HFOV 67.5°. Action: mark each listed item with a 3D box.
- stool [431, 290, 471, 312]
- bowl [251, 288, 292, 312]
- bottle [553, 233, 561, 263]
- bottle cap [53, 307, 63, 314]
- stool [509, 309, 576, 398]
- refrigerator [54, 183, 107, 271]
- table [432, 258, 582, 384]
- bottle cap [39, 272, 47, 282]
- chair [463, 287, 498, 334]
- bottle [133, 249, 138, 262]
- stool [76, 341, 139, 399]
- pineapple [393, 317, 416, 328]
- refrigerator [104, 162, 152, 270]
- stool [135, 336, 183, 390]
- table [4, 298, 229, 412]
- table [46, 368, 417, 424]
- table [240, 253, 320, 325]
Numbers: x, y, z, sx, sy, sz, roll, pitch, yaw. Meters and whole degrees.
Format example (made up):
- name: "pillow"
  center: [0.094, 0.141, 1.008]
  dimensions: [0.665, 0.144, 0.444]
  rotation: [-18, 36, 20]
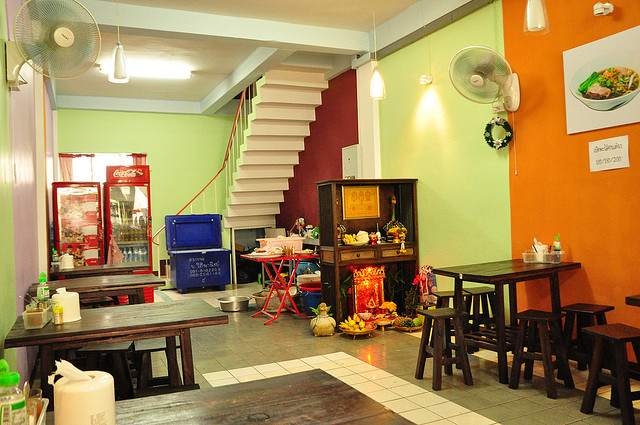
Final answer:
- name: "stool"
  center: [1.659, 1.070, 6.063]
  dimensions: [0.353, 0.334, 0.342]
  rotation: [0, -2, -6]
- name: "bowl"
  center: [-0.805, 1.503, 8.283]
  dimensions: [0.513, 0.194, 0.510]
  rotation: [-1, 6, 0]
- name: "bottle"
  center: [2.751, 0.412, 5.562]
  dimensions: [0.080, 0.301, 0.343]
  rotation: [0, 5, 26]
- name: "bottle cap"
  center: [-2.131, 0.802, 3.897]
  dimensions: [0.053, 0.042, 0.051]
  rotation: [4, -4, -32]
- name: "stool"
  center: [2.359, 1.424, 5.027]
  dimensions: [0.581, 0.770, 0.757]
  rotation: [1, 6, 33]
- name: "refrigerator"
  center: [-4.731, 0.254, 9.427]
  dimensions: [0.814, 1.649, 0.300]
  rotation: [-5, 6, -29]
- name: "table"
  center: [2.226, 1.137, 5.678]
  dimensions: [1.636, 1.151, 0.854]
  rotation: [-7, 8, -32]
- name: "bottle cap"
  center: [-2.422, 0.568, 4.176]
  dimensions: [0.066, 0.084, 0.022]
  rotation: [-1, -1, -14]
- name: "chair"
  center: [1.985, 1.227, 5.943]
  dimensions: [0.414, 0.481, 0.388]
  rotation: [-4, -7, 9]
- name: "bottle"
  center: [-4.169, 0.970, 10.801]
  dimensions: [0.102, 0.269, 0.075]
  rotation: [-5, 6, -31]
- name: "stool"
  center: [-1.805, 1.360, 4.154]
  dimensions: [0.463, 0.335, 0.461]
  rotation: [9, -29, -36]
- name: "pineapple"
  center: [1.190, 1.582, 6.843]
  dimensions: [0.155, 0.076, 0.186]
  rotation: [0, -4, 42]
- name: "refrigerator"
  center: [-4.217, 0.100, 10.483]
  dimensions: [0.992, 2.207, 0.579]
  rotation: [-4, 6, -22]
- name: "stool"
  center: [-1.721, 1.501, 4.795]
  dimensions: [0.601, 0.563, 0.582]
  rotation: [1, -7, -23]
- name: "table"
  center: [-1.767, 0.948, 4.184]
  dimensions: [1.124, 0.687, 1.144]
  rotation: [-2, -2, -26]
- name: "table"
  center: [-0.354, 1.128, 2.800]
  dimensions: [1.640, 0.103, 0.590]
  rotation: [-2, 5, -7]
- name: "table"
  center: [-0.682, 1.213, 8.064]
  dimensions: [1.019, 1.041, 1.130]
  rotation: [-4, 5, -21]
